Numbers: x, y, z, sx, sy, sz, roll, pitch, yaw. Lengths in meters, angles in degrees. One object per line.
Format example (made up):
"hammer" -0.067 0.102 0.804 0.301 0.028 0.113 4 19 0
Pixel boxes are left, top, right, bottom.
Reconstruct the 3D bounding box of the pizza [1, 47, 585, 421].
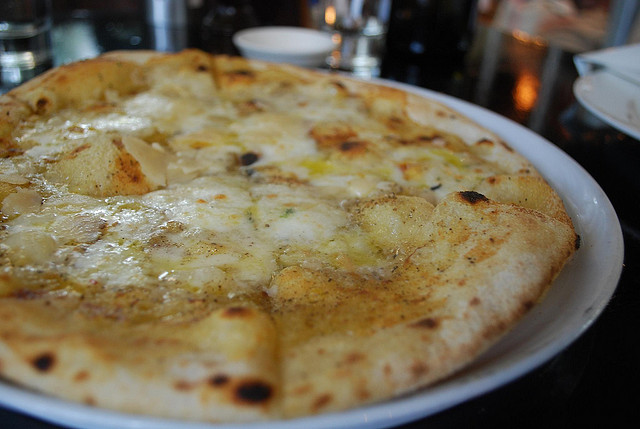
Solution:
"pizza" -0.108 -0.044 1.345 1.431 0.277 1.069 4 35 2

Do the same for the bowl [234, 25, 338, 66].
"bowl" -0.143 -0.658 2.262 0.385 0.083 0.375 -2 2 0
